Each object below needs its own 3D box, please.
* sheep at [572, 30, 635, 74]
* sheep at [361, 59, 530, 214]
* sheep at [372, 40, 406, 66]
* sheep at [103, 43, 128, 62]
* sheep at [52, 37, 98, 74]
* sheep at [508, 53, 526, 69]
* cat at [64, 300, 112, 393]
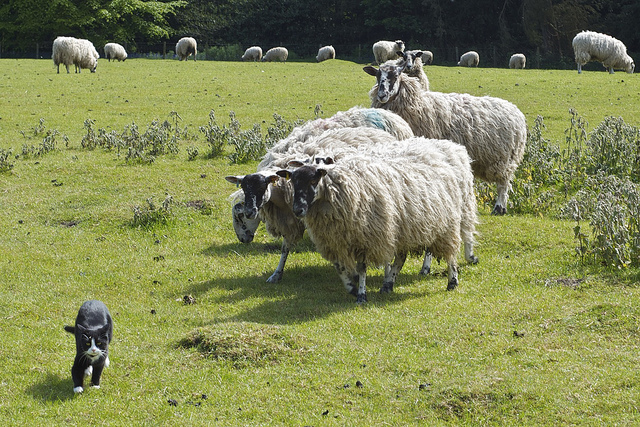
[{"bbox_3d":[15.514,-8.896,47.357,3.358,2.182,1.902,-6,11,-36],"label":"sheep"},{"bbox_3d":[3.600,-2.114,24.494,4.495,4.147,2.031,6,14,-6],"label":"sheep"},{"bbox_3d":[4.349,-9.969,53.407,2.010,1.685,0.888,-15,23,-40],"label":"sheep"},{"bbox_3d":[-13.633,-10.838,57.657,1.116,1.085,2.506,0,10,-7],"label":"sheep"},{"bbox_3d":[-12.332,-7.923,43.869,1.108,1.957,2.664,8,6,31],"label":"sheep"},{"bbox_3d":[13.297,-10.282,57.911,0.599,1.050,1.706,0,8,0],"label":"sheep"},{"bbox_3d":[-4.738,2.731,17.983,0.683,1.212,1.882,2,10,-4],"label":"cat"}]
